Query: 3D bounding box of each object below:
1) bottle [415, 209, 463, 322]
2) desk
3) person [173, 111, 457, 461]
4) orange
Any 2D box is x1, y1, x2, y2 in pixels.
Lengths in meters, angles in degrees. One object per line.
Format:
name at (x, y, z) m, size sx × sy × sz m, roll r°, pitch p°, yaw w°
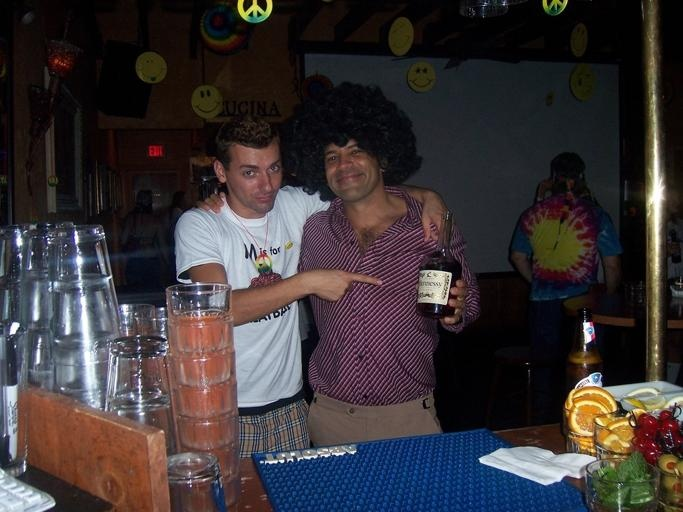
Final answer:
bottle at (0.359, 0.032, 2.029) m, size 0.151 × 0.399 × 0.155 m, roll 10°, pitch -16°, yaw 3°
desk at (1.490, 0.343, 3.023) m, size 0.487 × 0.181 × 0.491 m, roll -12°, pitch 22°, yaw -24°
person at (-0.076, 0.238, 2.445) m, size 1.124 × 1.669 × 0.685 m, roll -8°, pitch 13°, yaw -16°
orange at (0.635, 0.424, 1.394) m, size 0.123 × 0.094 × 0.110 m, roll -30°, pitch 32°, yaw -23°
